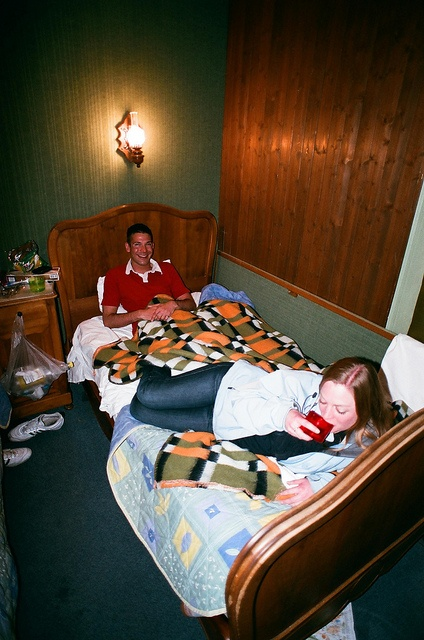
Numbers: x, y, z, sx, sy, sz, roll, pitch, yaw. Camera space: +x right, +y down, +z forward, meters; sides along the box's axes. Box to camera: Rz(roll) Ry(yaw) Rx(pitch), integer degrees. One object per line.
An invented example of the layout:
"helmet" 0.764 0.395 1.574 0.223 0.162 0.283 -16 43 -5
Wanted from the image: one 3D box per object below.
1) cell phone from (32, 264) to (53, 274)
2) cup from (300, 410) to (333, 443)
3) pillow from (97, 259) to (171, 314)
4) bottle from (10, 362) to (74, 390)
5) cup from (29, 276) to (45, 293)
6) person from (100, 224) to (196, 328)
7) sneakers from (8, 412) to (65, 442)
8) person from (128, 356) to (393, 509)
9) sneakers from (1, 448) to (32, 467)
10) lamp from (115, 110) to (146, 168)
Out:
"cell phone" -0.983 -0.292 2.488 0.055 0.028 0.096 19 23 2
"cup" 0.346 0.352 1.442 0.095 0.095 0.095 27 13 -7
"pillow" -0.575 -0.261 2.894 0.406 0.126 0.326 -23 44 -27
"bottle" -0.989 0.315 2.442 0.207 0.076 0.121 -17 50 -32
"cup" -0.955 -0.191 2.343 0.080 0.092 0.083 4 12 -1
"person" -0.396 -0.295 2.778 0.533 0.571 0.702 14 27 20
"sneakers" -1.013 0.615 2.507 0.303 0.111 0.113 -18 66 -41
"person" 0.146 0.351 1.787 0.975 0.469 0.728 13 10 13
"sneakers" -1.033 0.720 2.254 0.164 0.059 0.064 -10 -11 -40
"lamp" -0.514 -1.142 2.742 0.200 0.332 0.116 -9 28 -27
